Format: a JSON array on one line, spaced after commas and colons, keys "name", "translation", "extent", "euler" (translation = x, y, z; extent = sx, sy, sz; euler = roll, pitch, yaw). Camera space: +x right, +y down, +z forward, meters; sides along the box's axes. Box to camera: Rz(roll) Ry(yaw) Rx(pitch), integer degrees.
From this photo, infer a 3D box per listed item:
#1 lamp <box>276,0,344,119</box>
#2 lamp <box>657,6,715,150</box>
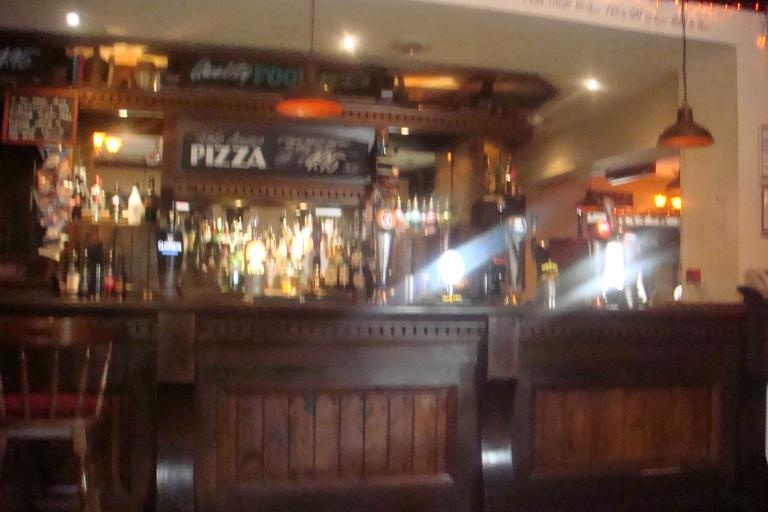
[{"name": "lamp", "translation": [-0.654, -1.851, 8.034], "extent": [0.593, 1.389, 1.463], "euler": [2, -7, -3]}, {"name": "lamp", "translation": [3.124, -1.815, 9.154], "extent": [0.494, 1.712, 2.024], "euler": [-1, -7, 18]}]
